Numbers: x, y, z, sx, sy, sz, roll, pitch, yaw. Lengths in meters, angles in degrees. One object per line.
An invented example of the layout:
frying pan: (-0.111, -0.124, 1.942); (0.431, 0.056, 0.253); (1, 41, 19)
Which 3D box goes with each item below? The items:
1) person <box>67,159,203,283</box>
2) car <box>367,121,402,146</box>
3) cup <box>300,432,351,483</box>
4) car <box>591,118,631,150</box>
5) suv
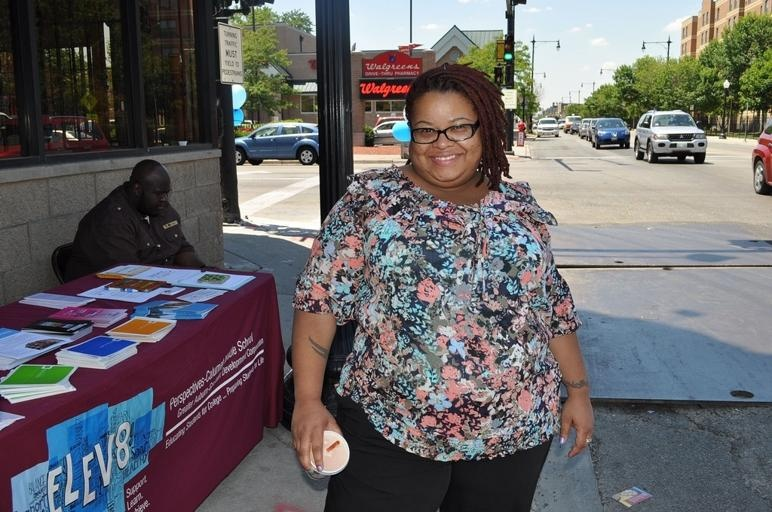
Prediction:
person: (-2.289, -0.197, 5.243); (1.111, 1.354, 1.022); (11, 12, 14)
car: (-0.226, -8.400, 39.083); (3.485, 1.779, 2.118); (2, 23, 1)
cup: (-0.201, 0.704, 1.978); (0.151, 0.149, 0.105); (-7, -15, -16)
car: (15.099, -8.204, 37.596); (1.924, 1.988, 2.390); (0, 15, 13)
suv: (13.041, -5.422, 25.550); (2.351, 2.285, 3.635); (0, 14, 11)
